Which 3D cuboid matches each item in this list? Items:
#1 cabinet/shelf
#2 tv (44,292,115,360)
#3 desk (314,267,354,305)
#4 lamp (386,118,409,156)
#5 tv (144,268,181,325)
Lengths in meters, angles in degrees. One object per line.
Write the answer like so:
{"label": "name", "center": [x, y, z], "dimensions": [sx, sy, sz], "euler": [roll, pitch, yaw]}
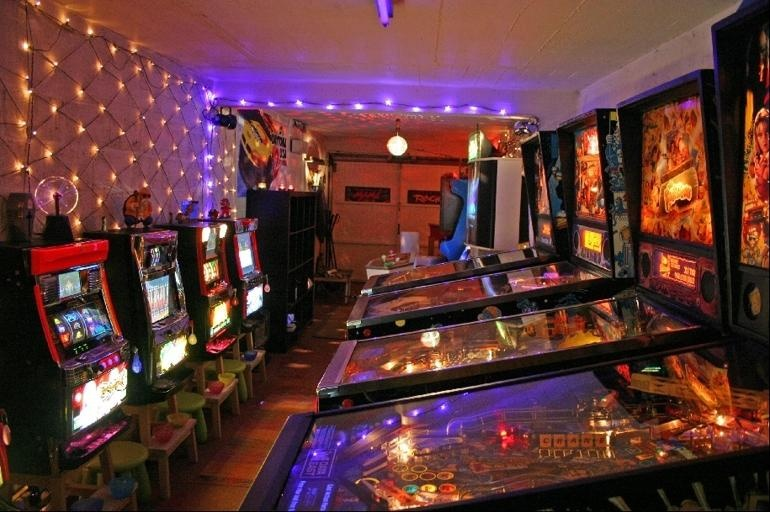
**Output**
{"label": "cabinet/shelf", "center": [-1.279, 0.204, 6.823], "dimensions": [0.516, 1.814, 1.972], "euler": [1, 6, 7]}
{"label": "tv", "center": [-1.957, 0.459, 3.585], "dimensions": [0.056, 0.304, 0.411], "euler": [-18, 6, 18]}
{"label": "desk", "center": [-0.889, 0.598, 9.539], "dimensions": [0.502, 0.345, 0.772], "euler": [2, 3, 6]}
{"label": "lamp", "center": [0.151, -1.570, 7.438], "dimensions": [0.271, 0.487, 0.275], "euler": [2, 4, 10]}
{"label": "tv", "center": [-1.764, 0.328, 4.440], "dimensions": [0.057, 0.588, 0.434], "euler": [-6, -5, 23]}
